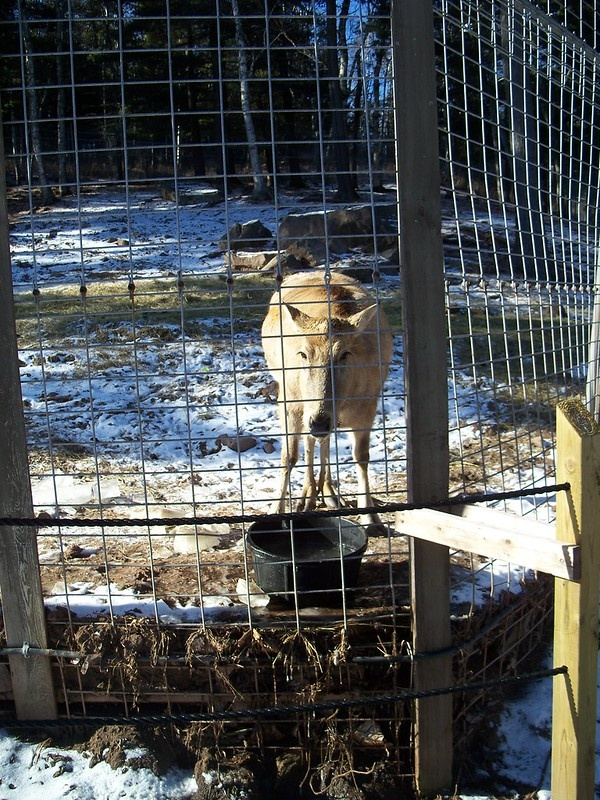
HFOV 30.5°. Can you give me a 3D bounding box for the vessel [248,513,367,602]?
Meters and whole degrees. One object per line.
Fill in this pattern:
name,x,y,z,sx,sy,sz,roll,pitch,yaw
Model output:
vessel,-0.005,0.917,6.198,0.627,0.254,0.611,-2,8,-23
